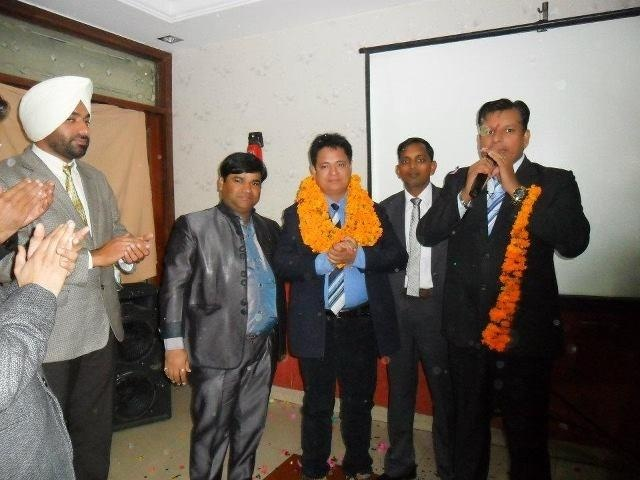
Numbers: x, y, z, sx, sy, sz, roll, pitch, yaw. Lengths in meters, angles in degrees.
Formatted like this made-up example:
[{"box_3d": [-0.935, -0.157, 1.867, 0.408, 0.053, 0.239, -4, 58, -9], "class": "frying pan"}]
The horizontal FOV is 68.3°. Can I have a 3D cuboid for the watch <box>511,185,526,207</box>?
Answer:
[{"box_3d": [1.103, -0.242, 2.624, 0.077, 0.101, 0.029, 40, -5, -8], "class": "watch"}]

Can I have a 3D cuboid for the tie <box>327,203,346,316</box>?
[{"box_3d": [0.103, 0.111, 2.979, 0.103, 0.666, 0.266, 1, 6, 2], "class": "tie"}]

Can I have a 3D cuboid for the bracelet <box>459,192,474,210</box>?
[{"box_3d": [0.839, -0.225, 2.751, 0.066, 0.094, 0.035, 8, 12, 23], "class": "bracelet"}]

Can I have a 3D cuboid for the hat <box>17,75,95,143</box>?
[{"box_3d": [-1.494, -0.733, 2.700, 0.401, 0.365, 0.309, -6, 16, 11], "class": "hat"}]
